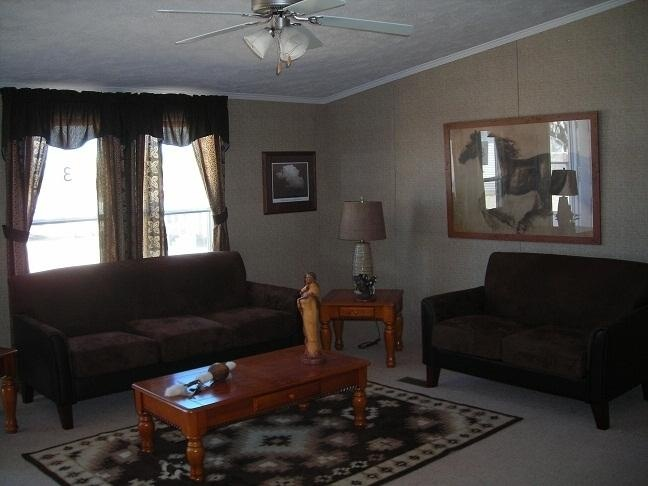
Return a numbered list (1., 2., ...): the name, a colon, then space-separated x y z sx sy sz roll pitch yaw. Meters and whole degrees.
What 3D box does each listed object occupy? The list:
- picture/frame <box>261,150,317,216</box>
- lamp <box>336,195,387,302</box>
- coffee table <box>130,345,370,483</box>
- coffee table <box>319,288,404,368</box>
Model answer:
1. picture/frame: -0.486 -0.799 6.892 0.944 0.889 0.071 -2 1 -37
2. lamp: 0.417 0.050 5.689 0.495 1.000 0.595 1 8 16
3. coffee table: -0.511 1.175 3.874 1.551 0.577 0.703 -5 8 -31
4. coffee table: 0.442 0.929 5.776 1.112 0.671 1.055 -3 2 -42
